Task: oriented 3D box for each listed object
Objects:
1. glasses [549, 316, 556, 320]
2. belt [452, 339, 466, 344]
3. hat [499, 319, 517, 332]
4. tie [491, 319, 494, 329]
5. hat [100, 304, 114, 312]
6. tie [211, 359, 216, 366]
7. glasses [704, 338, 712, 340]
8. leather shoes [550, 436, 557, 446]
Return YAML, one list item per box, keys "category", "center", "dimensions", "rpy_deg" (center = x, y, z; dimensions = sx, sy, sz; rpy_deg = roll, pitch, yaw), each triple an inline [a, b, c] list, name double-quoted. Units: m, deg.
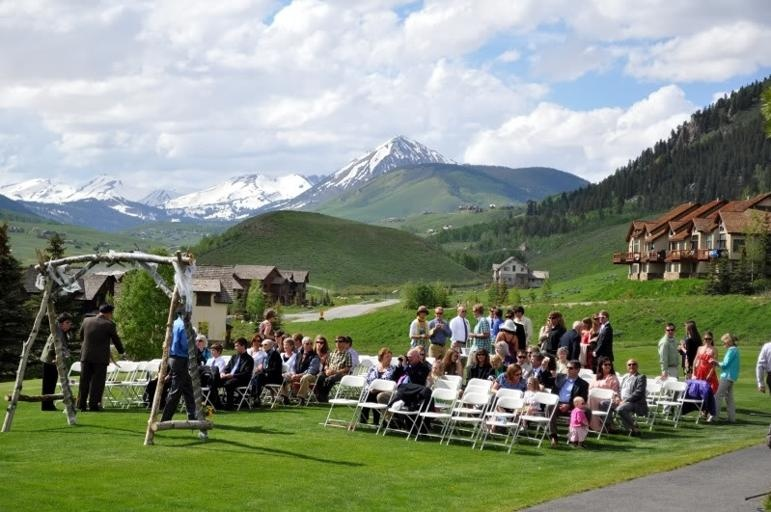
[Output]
- category: "glasses"
  center: [6.491, 2.374, 30.702]
  dimensions: [0.157, 0.110, 0.298]
  rpy_deg: [7, -11, -24]
- category: "belt"
  center: [3.051, 3.510, 32.345]
  dimensions: [0.226, 0.129, 0.355]
  rpy_deg: [1, 9, -31]
- category: "hat"
  center: [4.849, 2.697, 30.742]
  dimensions: [0.729, 0.527, 0.447]
  rpy_deg: [7, -11, -24]
- category: "tie"
  center: [4.292, 2.730, 31.684]
  dimensions: [0.083, 0.300, 0.214]
  rpy_deg: [4, 0, -15]
- category: "hat"
  center: [-9.870, 1.827, 28.078]
  dimensions: [0.426, 0.389, 0.327]
  rpy_deg: [-3, 4, -43]
- category: "tie"
  center: [-6.501, 4.019, 30.095]
  dimensions: [0.167, 0.245, 0.657]
  rpy_deg: [5, -10, -13]
- category: "glasses"
  center: [12.059, 3.060, 29.441]
  dimensions: [0.219, 0.118, 0.285]
  rpy_deg: [1, -10, 7]
- category: "leather shoes"
  center: [5.505, 6.029, 25.705]
  dimensions: [0.090, 0.214, 0.261]
  rpy_deg: [23, 20, -41]
